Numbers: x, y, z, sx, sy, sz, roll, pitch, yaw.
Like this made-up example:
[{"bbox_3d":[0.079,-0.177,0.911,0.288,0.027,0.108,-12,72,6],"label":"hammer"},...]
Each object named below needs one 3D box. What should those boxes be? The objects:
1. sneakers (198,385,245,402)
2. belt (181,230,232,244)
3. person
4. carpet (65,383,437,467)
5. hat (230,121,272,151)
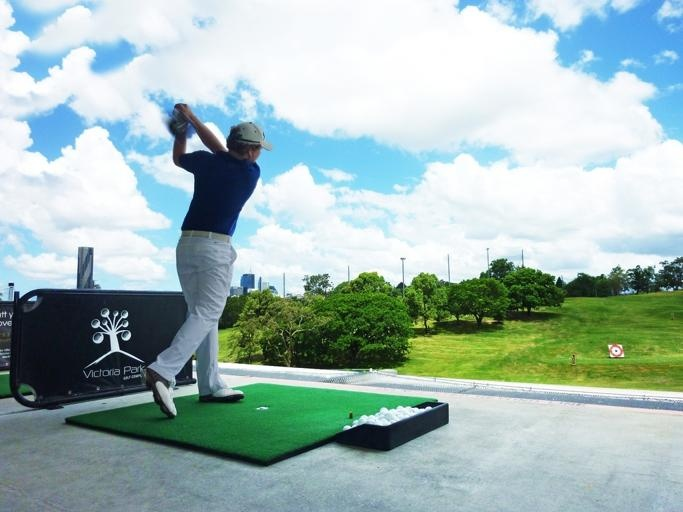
[{"bbox_3d":[-1.388,1.561,5.139,0.484,0.182,0.184,-1,-1,7],"label":"sneakers"},{"bbox_3d":[-1.447,-0.202,4.721,0.501,0.120,0.163,2,-8,-11],"label":"belt"},{"bbox_3d":[-1.475,0.002,4.914,1.090,3.253,0.935,4,-8,-22],"label":"person"},{"bbox_3d":[-1.029,1.697,4.938,3.161,0.072,2.833,-6,-9,29],"label":"carpet"},{"bbox_3d":[-0.997,-1.303,4.936,0.411,0.223,0.292,-3,25,-31],"label":"hat"}]
